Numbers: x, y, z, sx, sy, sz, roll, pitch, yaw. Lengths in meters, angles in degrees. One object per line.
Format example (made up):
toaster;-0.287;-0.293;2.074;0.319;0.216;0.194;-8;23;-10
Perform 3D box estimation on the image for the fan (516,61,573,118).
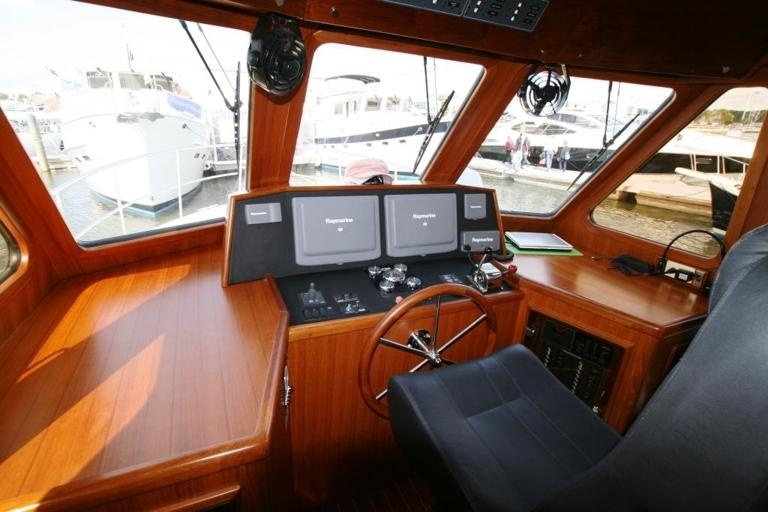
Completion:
fan;0.959;-0.983;2.720;0.313;0.306;0.110;-3;18;8
